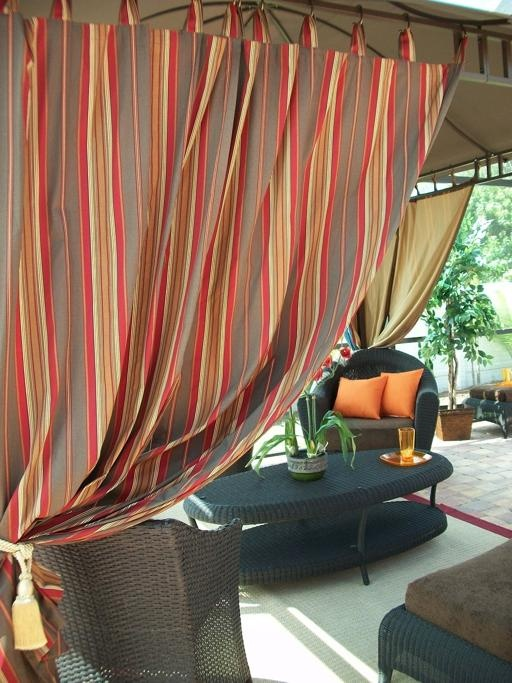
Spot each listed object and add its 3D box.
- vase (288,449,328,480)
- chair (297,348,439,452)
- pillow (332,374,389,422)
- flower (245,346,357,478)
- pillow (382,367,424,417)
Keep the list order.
[{"bbox_3d":[0.250,0.608,2.894,0.148,0.089,0.151,-3,3,6],"label":"vase"},{"bbox_3d":[0.878,0.526,4.431,1.002,0.992,0.865,-2,0,14],"label":"chair"},{"bbox_3d":[0.778,0.433,4.284,0.313,0.271,0.129,-2,-14,32],"label":"pillow"},{"bbox_3d":[0.316,0.370,2.993,0.455,0.632,0.488,-17,-3,-17],"label":"flower"},{"bbox_3d":[1.070,0.388,4.222,0.270,0.308,0.118,-21,-47,41],"label":"pillow"}]
